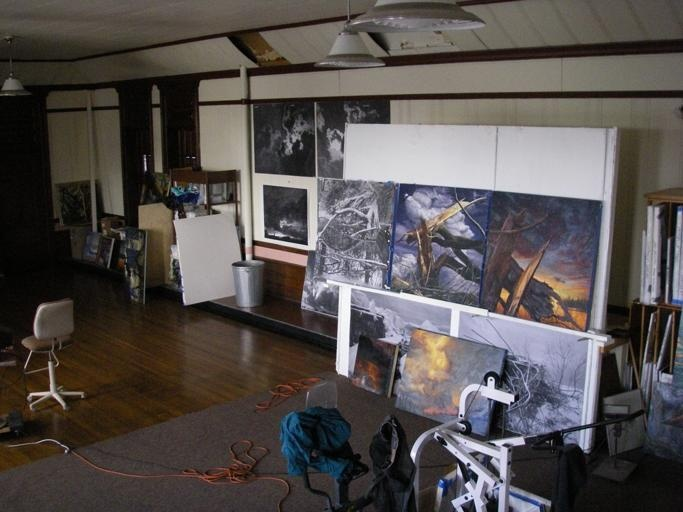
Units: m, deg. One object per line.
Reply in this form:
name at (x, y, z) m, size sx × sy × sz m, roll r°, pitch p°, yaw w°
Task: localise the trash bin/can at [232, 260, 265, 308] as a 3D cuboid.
trash bin/can at (-1.484, 0.424, 8.394) m, size 0.551 × 0.694 × 0.590 m, roll 4°, pitch 15°, yaw 15°
